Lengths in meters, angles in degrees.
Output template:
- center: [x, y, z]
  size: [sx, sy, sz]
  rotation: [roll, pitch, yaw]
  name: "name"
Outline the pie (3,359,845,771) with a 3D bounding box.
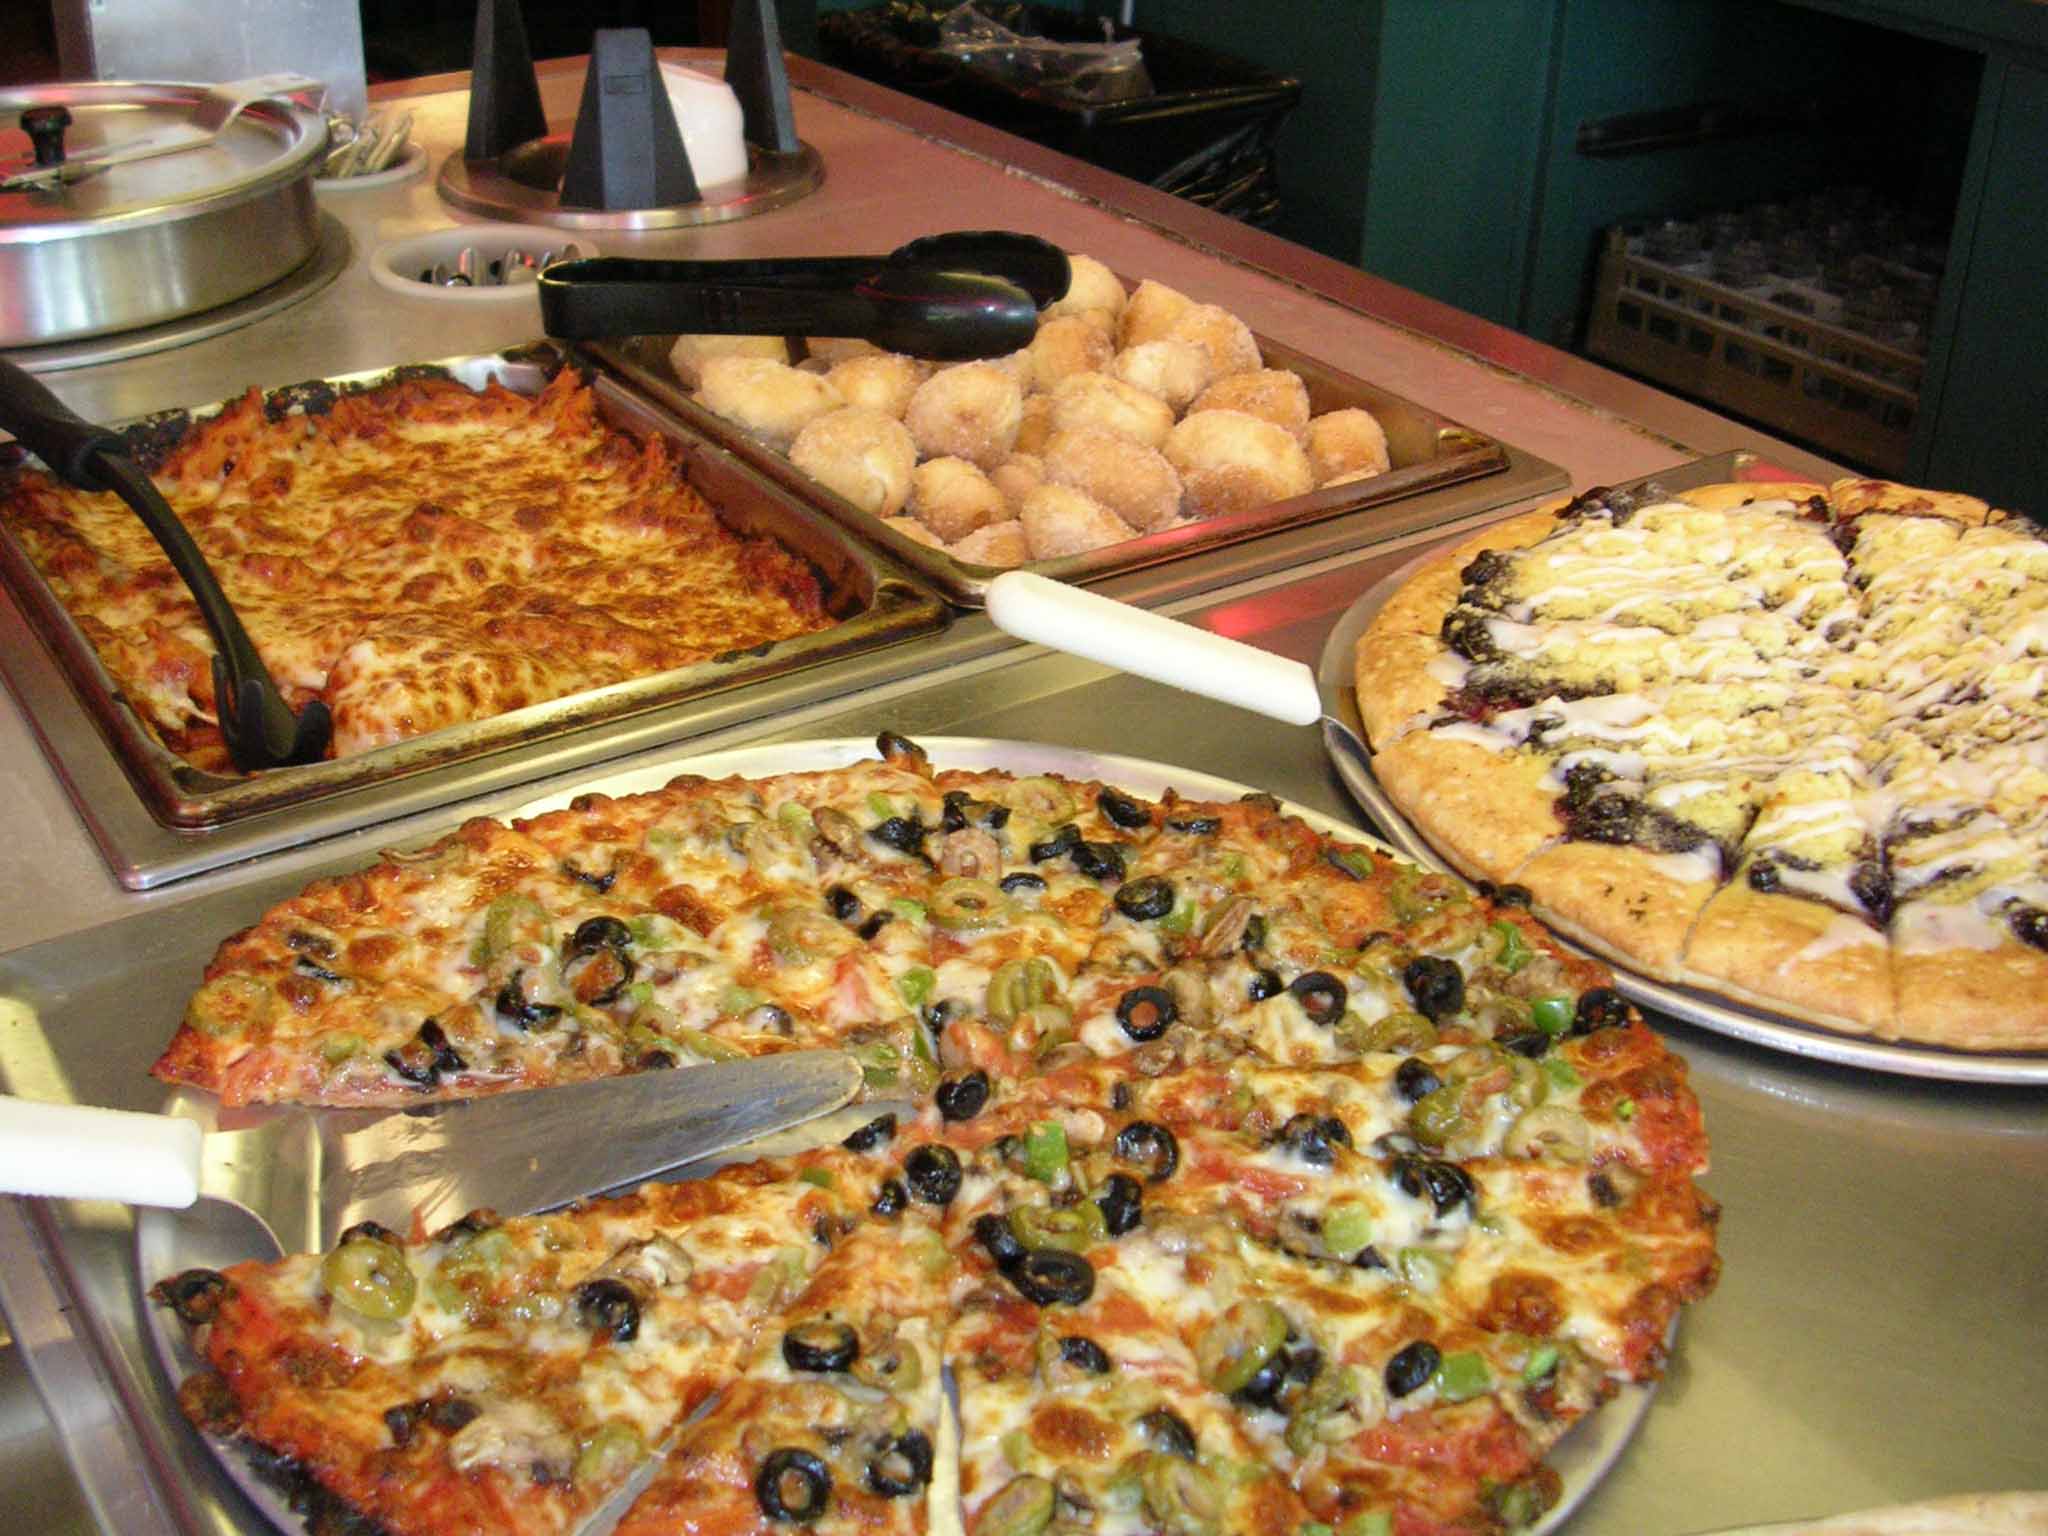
- center: [-0.641, -0.247, 1.666]
  size: [0.659, 0.321, 0.919]
  rotation: [-15, 30, -27]
  name: "pie"
